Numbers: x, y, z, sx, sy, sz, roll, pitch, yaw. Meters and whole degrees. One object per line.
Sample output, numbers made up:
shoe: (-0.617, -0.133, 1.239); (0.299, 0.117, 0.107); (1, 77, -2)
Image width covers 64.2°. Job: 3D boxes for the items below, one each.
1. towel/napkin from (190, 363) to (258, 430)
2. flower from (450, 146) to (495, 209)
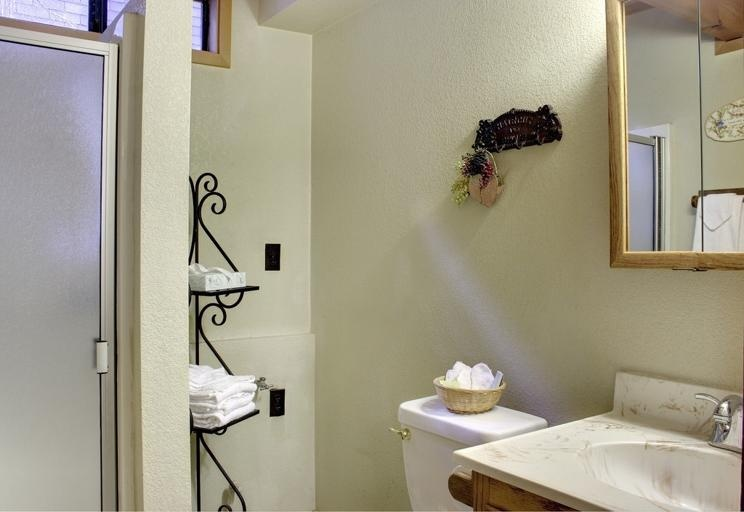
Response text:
towel/napkin: (-0.606, 0.566, 2.433); (0.228, 0.084, 0.230); (0, 0, 41)
flower: (0.418, -0.318, 2.449); (0.183, 0.222, 0.085); (19, 22, 42)
